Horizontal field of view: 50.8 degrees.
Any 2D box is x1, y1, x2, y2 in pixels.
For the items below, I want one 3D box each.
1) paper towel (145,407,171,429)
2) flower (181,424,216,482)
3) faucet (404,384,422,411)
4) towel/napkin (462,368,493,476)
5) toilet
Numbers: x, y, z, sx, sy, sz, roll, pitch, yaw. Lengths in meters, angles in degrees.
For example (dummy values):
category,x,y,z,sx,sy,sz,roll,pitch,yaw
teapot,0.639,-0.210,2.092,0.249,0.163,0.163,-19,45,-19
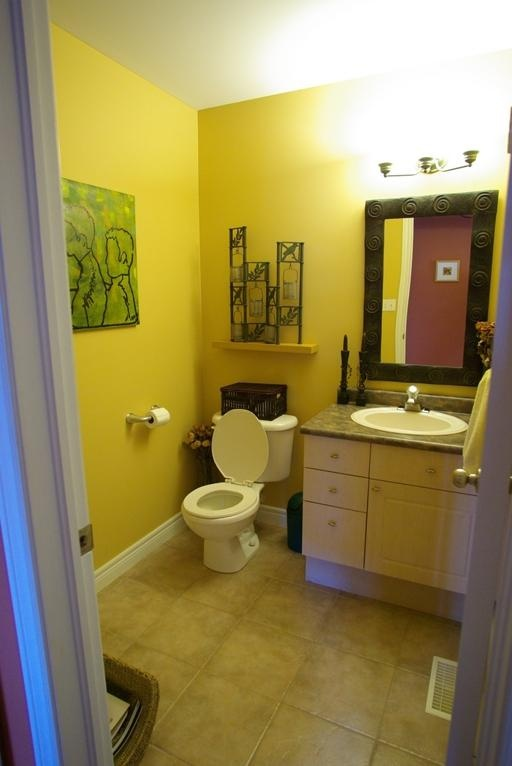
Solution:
category,x,y,z,sx,sy,sz,roll,pitch,yaw
paper towel,-0.463,0.166,2.569,0.083,0.092,0.098,-3,4,35
flower,-0.289,0.469,3.113,0.196,0.409,0.211,0,1,4
faucet,0.728,0.070,2.487,0.083,0.168,0.035,7,17,29
towel/napkin,0.627,0.116,1.540,0.052,0.312,0.391,3,10,22
toilet,-0.098,0.501,2.682,0.345,0.793,0.678,11,19,28
